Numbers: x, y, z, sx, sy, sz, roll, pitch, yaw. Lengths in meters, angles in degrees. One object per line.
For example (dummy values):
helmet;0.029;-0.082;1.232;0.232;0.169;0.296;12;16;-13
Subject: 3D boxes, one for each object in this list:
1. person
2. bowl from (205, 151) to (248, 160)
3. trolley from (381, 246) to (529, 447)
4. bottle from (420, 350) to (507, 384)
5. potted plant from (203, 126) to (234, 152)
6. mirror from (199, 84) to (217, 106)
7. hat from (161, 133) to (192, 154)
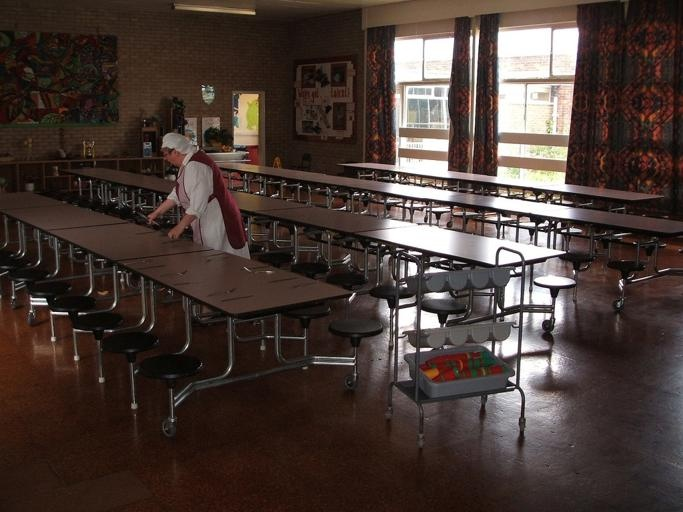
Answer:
person;-1.293;-0.518;4.933;0.814;1.175;0.775;-1;15;-7
bowl;-3.125;-2.766;14.919;0.915;0.194;0.921;-1;4;0
trolley;0.765;0.561;3.639;0.922;1.162;0.664;-1;4;-20
bottle;0.783;0.709;3.509;0.561;0.103;0.241;-3;15;-13
potted plant;-3.429;-3.246;15.251;0.813;0.671;0.782;-10;14;-42
mirror;-3.762;-4.541;15.098;0.618;0.655;0.077;-12;18;-36
hat;-1.467;-0.990;4.800;0.239;0.114;0.176;14;12;-15
